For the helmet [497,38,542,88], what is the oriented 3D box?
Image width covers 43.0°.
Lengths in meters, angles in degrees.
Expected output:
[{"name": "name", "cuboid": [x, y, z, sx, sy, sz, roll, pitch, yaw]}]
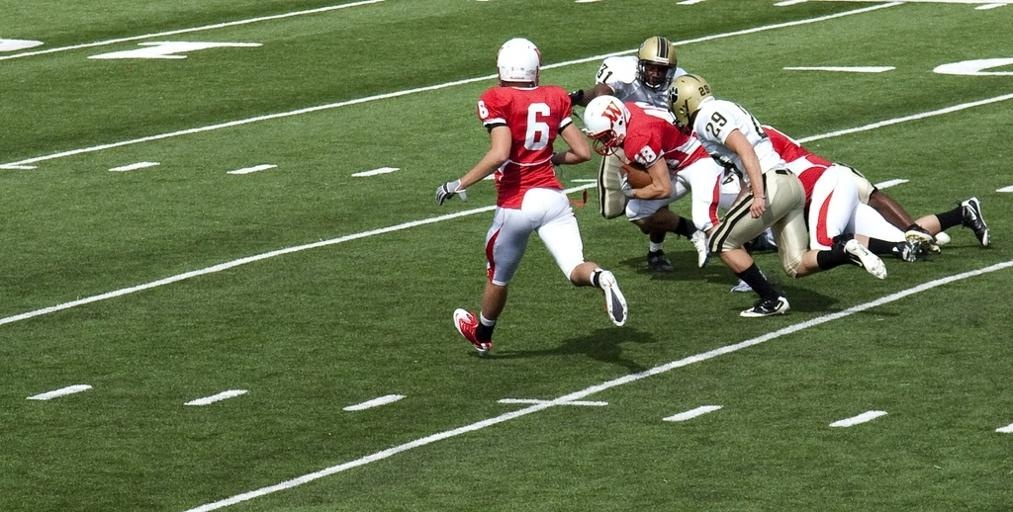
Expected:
[{"name": "helmet", "cuboid": [0.153, -2.020, 13.182, 0.481, 0.384, 0.508, 2, 29, 3]}]

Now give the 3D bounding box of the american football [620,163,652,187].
[{"name": "american football", "cuboid": [1.434, -0.905, 14.447, 0.343, 0.097, 0.258, 19, 3, 41]}]

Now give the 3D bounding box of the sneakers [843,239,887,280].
[{"name": "sneakers", "cuboid": [3.744, 0.008, 13.489, 0.565, 0.217, 0.280, 37, -5, 24]}]

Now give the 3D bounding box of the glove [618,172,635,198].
[{"name": "glove", "cuboid": [1.310, -0.799, 14.474, 0.126, 0.271, 0.137, -23, 2, 22]}]

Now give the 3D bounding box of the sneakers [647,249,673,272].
[{"name": "sneakers", "cuboid": [1.821, 0.063, 14.970, 0.202, 0.128, 0.359, -9, 13, -25]}]

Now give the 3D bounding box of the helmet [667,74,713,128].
[{"name": "helmet", "cuboid": [2.028, -1.736, 14.019, 0.459, 0.438, 0.563, -20, 27, -34]}]

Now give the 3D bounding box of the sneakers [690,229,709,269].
[{"name": "sneakers", "cuboid": [2.194, -0.078, 14.464, 0.281, 0.417, 0.156, 0, -27, -5]}]
